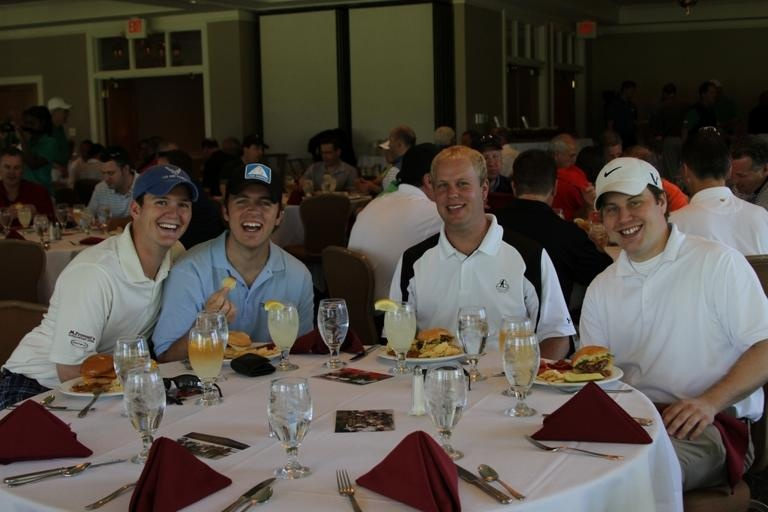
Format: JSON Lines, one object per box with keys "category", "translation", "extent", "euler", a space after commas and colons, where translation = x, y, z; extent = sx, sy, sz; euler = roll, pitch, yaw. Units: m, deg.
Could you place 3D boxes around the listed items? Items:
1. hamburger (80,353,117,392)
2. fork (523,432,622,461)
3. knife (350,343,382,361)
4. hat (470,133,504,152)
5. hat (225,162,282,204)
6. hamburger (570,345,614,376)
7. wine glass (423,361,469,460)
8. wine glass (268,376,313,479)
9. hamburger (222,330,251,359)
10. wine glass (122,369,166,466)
{"category": "hamburger", "translation": [-0.950, 0.389, 1.911], "extent": [0.105, 0.081, 0.107], "euler": [-6, 11, -24]}
{"category": "fork", "translation": [0.508, 0.507, 1.510], "extent": [0.214, 0.035, 0.036], "euler": [-6, 10, 42]}
{"category": "knife", "translation": [-0.075, 0.377, 2.310], "extent": [0.035, 0.012, 0.211], "euler": [17, 10, 18]}
{"category": "hat", "translation": [1.090, -1.209, 6.098], "extent": [0.429, 0.245, 0.701], "euler": [-2, 10, 10]}
{"category": "hat", "translation": [-0.595, -0.344, 2.702], "extent": [0.173, 0.124, 0.224], "euler": [5, 4, -6]}
{"category": "hamburger", "translation": [0.686, 0.346, 1.894], "extent": [0.094, 0.064, 0.095], "euler": [-1, 0, 4]}
{"category": "wine glass", "translation": [0.172, 0.381, 1.491], "extent": [0.134, 0.195, 0.100], "euler": [-3, 5, -16]}
{"category": "wine glass", "translation": [-0.236, 0.415, 1.463], "extent": [0.104, 0.248, 0.179], "euler": [-2, 5, -8]}
{"category": "hamburger", "translation": [-0.574, 0.335, 2.218], "extent": [0.087, 0.029, 0.084], "euler": [3, 20, -3]}
{"category": "wine glass", "translation": [-0.646, 0.409, 1.554], "extent": [0.096, 0.245, 0.204], "euler": [-4, 5, -25]}
